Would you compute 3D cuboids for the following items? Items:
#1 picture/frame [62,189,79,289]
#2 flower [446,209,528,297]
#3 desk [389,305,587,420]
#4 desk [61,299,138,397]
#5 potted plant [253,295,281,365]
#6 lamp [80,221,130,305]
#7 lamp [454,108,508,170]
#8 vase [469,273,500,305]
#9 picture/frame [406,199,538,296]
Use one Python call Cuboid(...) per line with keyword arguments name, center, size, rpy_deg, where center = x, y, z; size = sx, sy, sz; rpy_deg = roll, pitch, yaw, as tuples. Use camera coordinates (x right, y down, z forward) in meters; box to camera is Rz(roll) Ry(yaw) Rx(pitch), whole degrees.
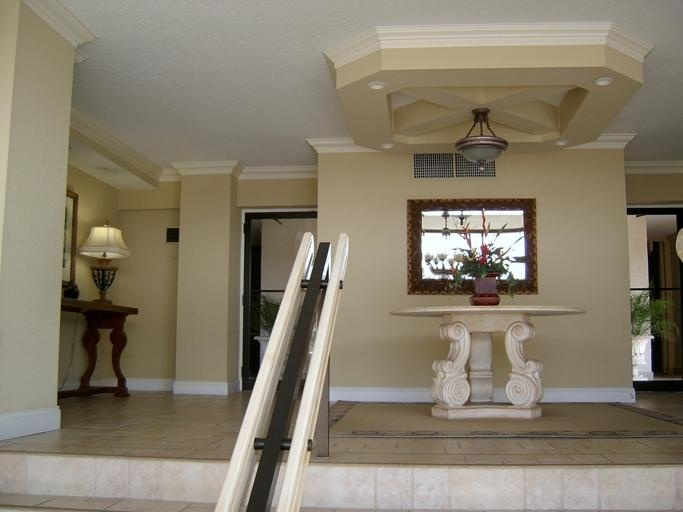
Cuboid(name="picture/frame", center=(-3.048, -0.174, 6.762), size=(0.156, 1.125, 0.488), rpy_deg=(5, -5, -24))
Cuboid(name="flower", center=(1.344, 0.116, 5.637), size=(0.560, 0.541, 0.413), rpy_deg=(5, -7, -24))
Cuboid(name="desk", center=(1.358, 0.983, 5.431), size=(1.628, 0.899, 1.461), rpy_deg=(3, -11, -19))
Cuboid(name="desk", center=(-2.826, 1.126, 7.180), size=(0.739, 1.001, 1.076), rpy_deg=(5, -10, -20))
Cuboid(name="potted plant", center=(-0.904, 0.906, 7.488), size=(0.255, 0.899, 0.309), rpy_deg=(5, -6, -29))
Cuboid(name="lamp", center=(-2.832, 0.096, 7.130), size=(0.523, 0.912, 0.893), rpy_deg=(5, -5, -22))
Cuboid(name="lamp", center=(1.263, -1.049, 5.416), size=(0.455, 0.514, 0.471), rpy_deg=(0, 3, 30))
Cuboid(name="vase", center=(1.360, 0.316, 5.529), size=(0.359, 0.284, 0.372), rpy_deg=(-2, -2, 7))
Cuboid(name="picture/frame", center=(1.413, -0.049, 6.325), size=(1.102, 0.776, 0.047), rpy_deg=(0, -4, 3))
